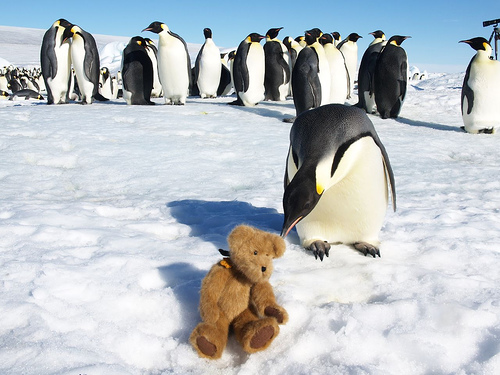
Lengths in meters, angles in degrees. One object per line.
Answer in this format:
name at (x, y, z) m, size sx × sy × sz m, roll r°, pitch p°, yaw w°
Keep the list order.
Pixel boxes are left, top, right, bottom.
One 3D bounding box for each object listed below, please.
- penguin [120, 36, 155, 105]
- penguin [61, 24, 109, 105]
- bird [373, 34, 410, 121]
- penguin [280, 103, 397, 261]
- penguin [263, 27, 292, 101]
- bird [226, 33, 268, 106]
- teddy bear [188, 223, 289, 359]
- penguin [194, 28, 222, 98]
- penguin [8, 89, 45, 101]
penguin at (-2.734, -2.852, 11.007) m, size 1.044 × 1.787 × 1.122 m, roll 0°, pitch 8°, yaw -29°
penguin at (-3.905, -2.902, 10.595) m, size 0.897 × 1.711 × 1.134 m, roll 23°, pitch 28°, yaw 31°
bird at (2.950, -2.209, 9.396) m, size 0.664 × 1.521 × 0.517 m, roll 5°, pitch 15°, yaw 16°
penguin at (0.589, -0.030, 3.280) m, size 1.100 × 1.089 × 0.557 m, roll -7°, pitch 17°, yaw -29°
penguin at (0.658, -3.449, 12.689) m, size 0.928 × 2.103 × 1.135 m, roll -6°, pitch 5°, yaw -12°
bird at (-0.063, -2.884, 10.972) m, size 0.782 × 1.726 × 0.975 m, roll 4°, pitch 15°, yaw 11°
teddy bear at (-0.057, 0.618, 2.574) m, size 0.513 × 0.689 × 0.463 m, roll 13°, pitch 5°, yaw -24°
penguin at (-1.206, -3.550, 13.127) m, size 0.690 × 1.931 × 1.847 m, roll 0°, pitch 15°, yaw -5°
penguin at (-7.301, -2.994, 14.692) m, size 1.056 × 0.365 × 0.621 m, roll 3°, pitch 6°, yaw -41°
